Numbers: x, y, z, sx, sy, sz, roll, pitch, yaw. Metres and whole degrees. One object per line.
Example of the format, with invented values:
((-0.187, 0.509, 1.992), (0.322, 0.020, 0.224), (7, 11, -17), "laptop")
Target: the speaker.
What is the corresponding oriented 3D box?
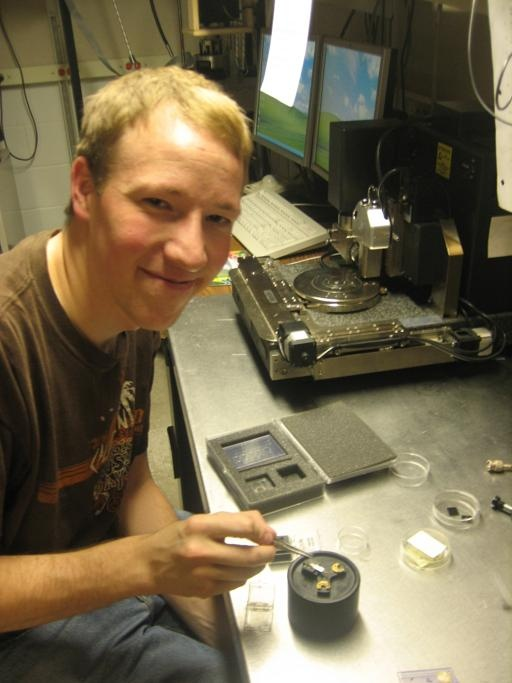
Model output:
((0.268, -0.416, 1.313), (0.222, 0.249, 0.079), (-9, 24, -12), "speaker")
